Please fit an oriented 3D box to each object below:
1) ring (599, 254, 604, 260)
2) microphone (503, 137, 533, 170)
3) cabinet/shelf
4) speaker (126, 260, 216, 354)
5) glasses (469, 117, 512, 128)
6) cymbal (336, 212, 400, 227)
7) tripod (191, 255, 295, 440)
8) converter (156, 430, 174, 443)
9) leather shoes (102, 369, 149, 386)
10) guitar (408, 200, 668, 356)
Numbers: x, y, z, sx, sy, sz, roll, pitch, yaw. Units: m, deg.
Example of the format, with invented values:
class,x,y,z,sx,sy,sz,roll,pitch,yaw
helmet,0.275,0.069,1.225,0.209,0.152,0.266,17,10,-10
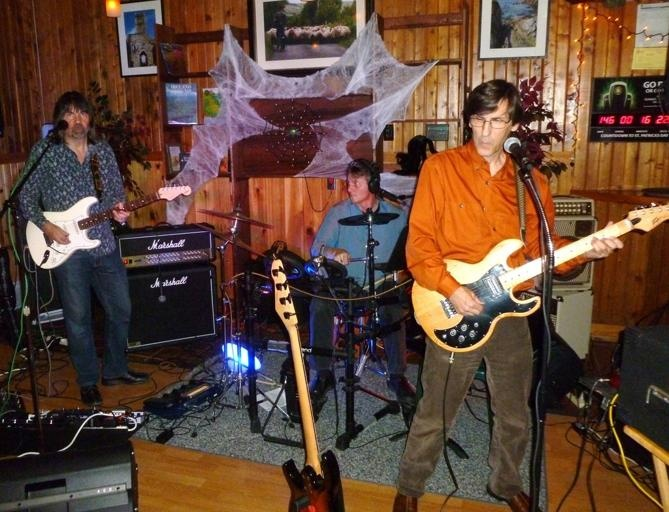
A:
class,x,y,z,sx,sy,sz,roll,pitch,yaw
ring,1.294,0.010,2.702,0.020,0.006,0.022,1,-25,0
microphone,0.809,-0.458,2.482,0.065,0.070,0.220,-4,37,-3
cabinet/shelf,-1.429,-1.618,6.019,0.902,1.571,0.767,-3,11,-18
speaker,-1.390,0.299,4.919,0.917,0.846,0.568,-2,3,-26
glasses,0.755,-0.629,2.701,0.194,0.048,0.049,4,11,13
cymbal,0.221,-0.230,3.681,0.383,0.103,0.217,2,11,6
tripod,-0.533,0.777,4.141,0.952,1.034,0.918,0,-6,2
converter,-1.120,1.189,3.678,0.052,0.051,0.103,5,10,11
leather shoes,-1.626,0.964,4.353,0.328,0.141,0.123,-2,0,-10
guitar,1.220,0.133,3.310,1.226,0.427,0.135,-28,8,6
